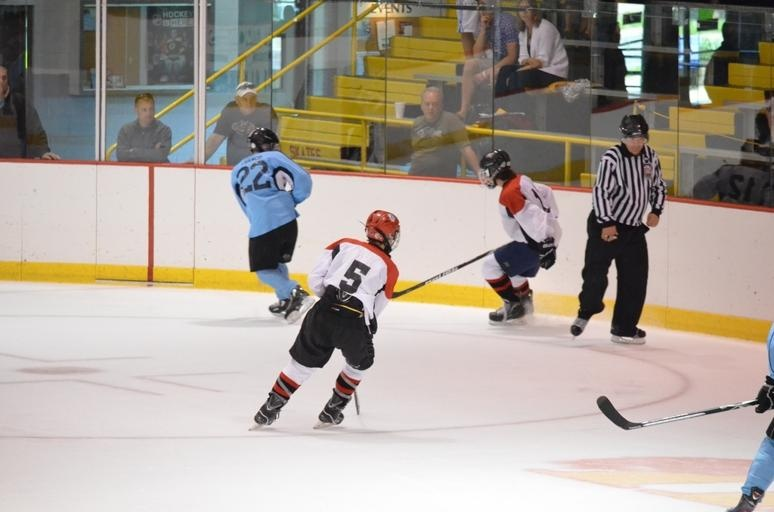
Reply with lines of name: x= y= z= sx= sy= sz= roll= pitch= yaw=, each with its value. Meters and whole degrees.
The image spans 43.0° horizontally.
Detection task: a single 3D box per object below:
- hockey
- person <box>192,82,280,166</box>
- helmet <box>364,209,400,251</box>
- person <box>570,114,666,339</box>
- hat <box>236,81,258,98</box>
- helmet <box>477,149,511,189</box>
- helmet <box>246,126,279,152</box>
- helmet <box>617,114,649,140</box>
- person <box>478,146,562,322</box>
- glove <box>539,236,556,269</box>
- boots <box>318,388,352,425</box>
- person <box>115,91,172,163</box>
hockey: x=1.934 y=1.055 z=6.513 sx=1.146 sy=0.127 sz=0.327 roll=-5 pitch=49 yaw=25
person: x=-1.493 y=-1.366 z=9.899 sx=0.997 sy=1.333 sz=0.445 roll=0 pitch=15 yaw=-11
helmet: x=-0.041 y=-0.188 z=6.649 sx=0.212 sy=0.256 sz=0.277 roll=14 pitch=6 yaw=36
person: x=1.975 y=-0.232 z=8.320 sx=0.671 sy=1.908 sz=0.574 roll=5 pitch=15 yaw=15
hat: x=-1.442 y=-1.705 z=10.011 sx=0.162 sy=0.166 sz=0.212 roll=-5 pitch=12 yaw=-24
helmet: x=0.934 y=-0.786 z=8.769 sx=0.334 sy=0.304 sz=0.259 roll=2 pitch=8 yaw=15
helmet: x=-1.111 y=-1.056 z=8.899 sx=0.266 sy=0.208 sz=0.202 roll=-13 pitch=34 yaw=-14
helmet: x=2.047 y=-1.082 z=8.194 sx=0.193 sy=0.212 sz=0.236 roll=-2 pitch=17 yaw=4
person: x=1.233 y=-0.191 z=8.930 sx=0.913 sy=1.694 sz=0.955 roll=4 pitch=30 yaw=18
glove: x=1.408 y=-0.028 z=8.640 sx=0.151 sy=0.238 sz=0.090 roll=4 pitch=16 yaw=8
boots: x=-0.339 y=0.999 z=6.365 sx=0.120 sy=0.153 sz=0.347 roll=24 pitch=45 yaw=7
person: x=-2.545 y=-1.350 z=10.272 sx=0.581 sy=0.703 sz=0.186 roll=-1 pitch=15 yaw=-8
